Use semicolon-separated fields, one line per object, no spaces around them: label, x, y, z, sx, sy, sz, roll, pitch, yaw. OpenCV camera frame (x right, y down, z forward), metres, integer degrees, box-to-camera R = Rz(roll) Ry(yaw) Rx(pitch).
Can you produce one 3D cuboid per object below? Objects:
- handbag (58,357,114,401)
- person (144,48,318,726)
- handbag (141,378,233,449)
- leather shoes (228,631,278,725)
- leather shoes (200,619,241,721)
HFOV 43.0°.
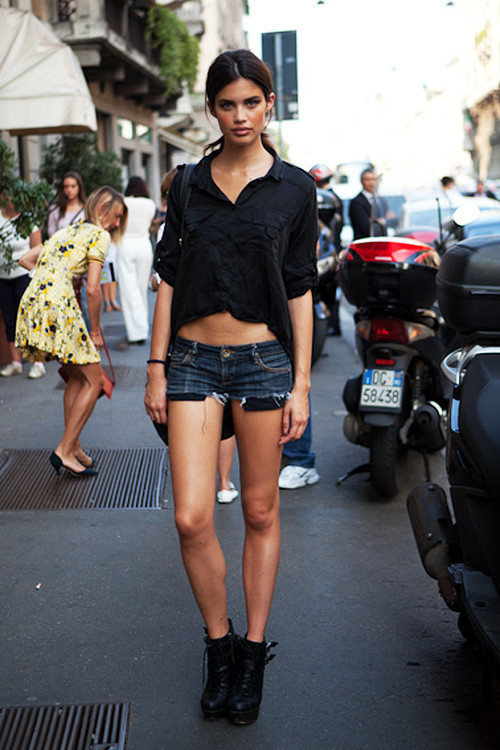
handbag;-1.164;0.027;4.460;0.182;0.425;0.415;3;6;-44
person;-0.043;0.143;1.758;0.486;1.592;0.273;-1;3;-10
handbag;-0.122;0.128;1.892;0.112;0.145;0.252;11;29;33
leather shoes;0.021;0.845;1.789;0.073;0.138;0.224;3;8;5
leather shoes;-0.085;0.837;1.774;0.078;0.161;0.238;-1;8;7
